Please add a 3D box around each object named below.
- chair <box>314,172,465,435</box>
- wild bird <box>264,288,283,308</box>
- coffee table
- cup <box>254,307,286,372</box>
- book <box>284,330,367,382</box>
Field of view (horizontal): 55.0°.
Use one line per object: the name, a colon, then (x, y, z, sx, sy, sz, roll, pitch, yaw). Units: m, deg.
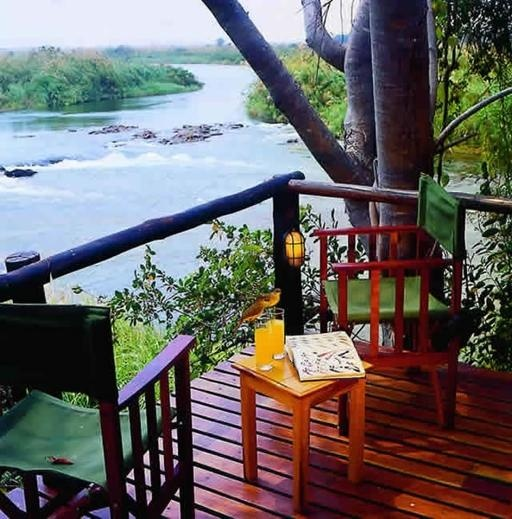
chair: (0.584, 0.210, 2.280, 0.550, 0.957, 0.672, -3, 14, 0)
wild bird: (0.056, 0.141, 1.759, 0.078, 0.084, 0.052, 2, 17, 23)
coffee table: (0.161, 0.586, 1.761, 0.400, 0.476, 0.371, -7, 10, -25)
cup: (0.047, 0.275, 1.762, 0.113, 0.201, 0.117, 0, 9, 0)
book: (0.231, 0.315, 1.724, 0.247, 0.110, 0.271, 3, 18, -7)
